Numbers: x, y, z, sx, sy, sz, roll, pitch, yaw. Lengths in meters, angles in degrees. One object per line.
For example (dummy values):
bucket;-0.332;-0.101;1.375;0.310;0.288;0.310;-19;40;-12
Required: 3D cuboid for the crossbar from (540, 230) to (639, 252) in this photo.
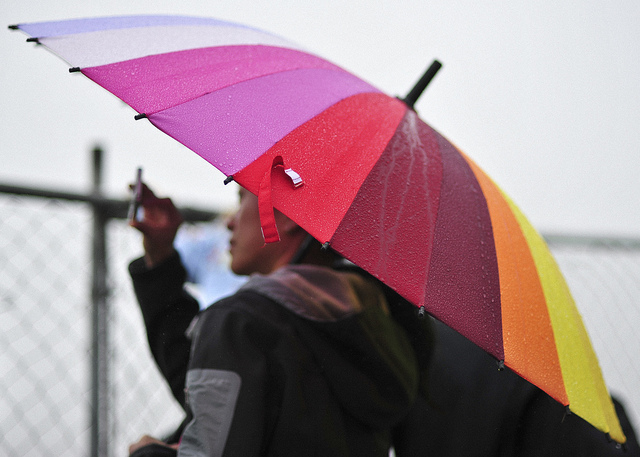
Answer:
crossbar;1.212;0.057;3.725;0.645;0.057;0.056;4;25;4
